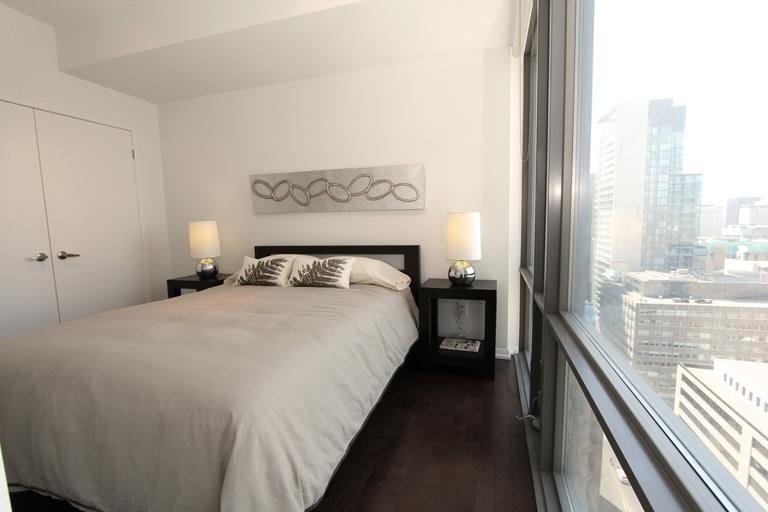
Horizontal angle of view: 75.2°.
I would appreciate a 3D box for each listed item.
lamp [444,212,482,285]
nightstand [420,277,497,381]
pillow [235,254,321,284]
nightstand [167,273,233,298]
[{"bbox_3d":[0.638,-0.055,3.976,0.276,0.576,0.236,0,7,2],"label":"lamp"},{"bbox_3d":[0.616,0.559,4.093,0.598,0.703,0.565,1,6,14],"label":"nightstand"},{"bbox_3d":[-1.015,0.130,4.280,0.367,0.144,0.473,1,4,2],"label":"pillow"},{"bbox_3d":[-1.834,0.266,4.874,0.372,0.366,0.362,3,8,17],"label":"nightstand"}]
